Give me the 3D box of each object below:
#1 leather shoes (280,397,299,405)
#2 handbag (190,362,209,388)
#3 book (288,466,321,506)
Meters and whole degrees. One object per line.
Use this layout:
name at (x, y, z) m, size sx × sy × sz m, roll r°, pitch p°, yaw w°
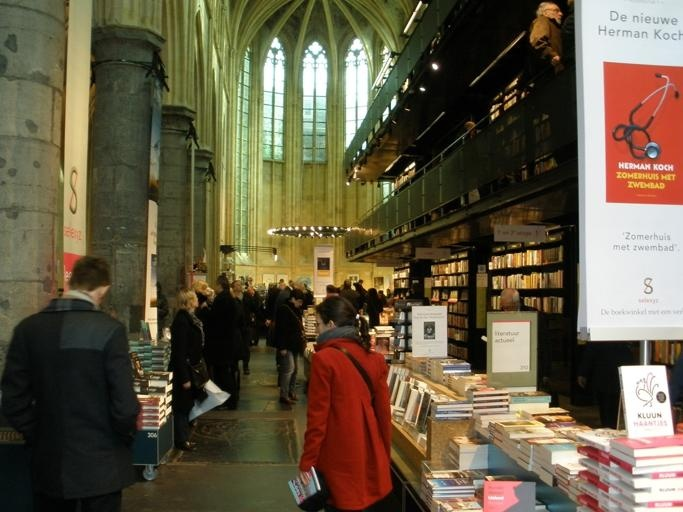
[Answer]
leather shoes at (-0.804, 2.253, 9.871) m, size 0.276 × 0.127 × 0.095 m, roll -1°, pitch -4°, yaw 2°
handbag at (-1.615, 1.345, 7.149) m, size 0.118 × 0.263 × 0.265 m, roll -11°, pitch -10°, yaw 27°
book at (-0.228, 1.461, 4.043) m, size 0.225 × 0.243 × 0.131 m, roll -1°, pitch -1°, yaw 9°
